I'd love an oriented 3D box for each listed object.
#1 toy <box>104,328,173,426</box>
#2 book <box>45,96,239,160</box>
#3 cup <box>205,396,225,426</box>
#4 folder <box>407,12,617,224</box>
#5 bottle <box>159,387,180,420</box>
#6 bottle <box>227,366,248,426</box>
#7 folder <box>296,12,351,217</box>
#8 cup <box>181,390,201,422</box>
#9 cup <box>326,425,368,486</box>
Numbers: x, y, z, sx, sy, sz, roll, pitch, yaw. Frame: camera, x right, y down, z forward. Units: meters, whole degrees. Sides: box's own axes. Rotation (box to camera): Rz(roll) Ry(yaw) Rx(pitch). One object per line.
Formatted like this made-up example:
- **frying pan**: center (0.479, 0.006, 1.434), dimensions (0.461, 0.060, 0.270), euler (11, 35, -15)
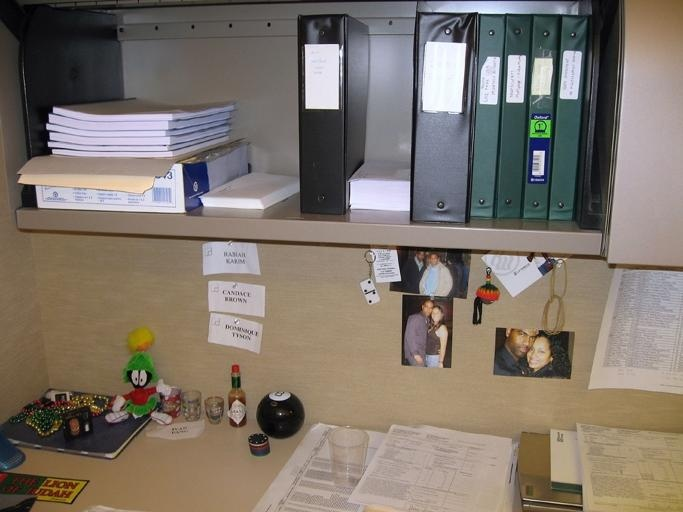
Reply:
- **toy**: center (-0.575, 0.338, 1.538), dimensions (0.170, 0.248, 0.158), euler (3, 2, -24)
- **book**: center (-0.430, -0.286, 1.210), dimensions (0.412, 0.129, 0.210), euler (-6, 12, -29)
- **cup**: center (-0.352, 0.424, 1.501), dimensions (0.061, 0.073, 0.064), euler (-2, 2, 0)
- **folder**: center (0.350, -0.268, 1.276), dimensions (0.348, 0.519, 0.486), euler (1, 5, 3)
- **bottle**: center (-0.487, 0.412, 1.541), dimensions (0.046, 0.078, 0.048), euler (0, 16, 0)
- **bottle**: center (-0.294, 0.380, 1.513), dimensions (0.056, 0.179, 0.086), euler (-3, 10, -14)
- **folder**: center (-0.033, -0.285, 1.080), dimensions (0.128, 0.399, 0.283), euler (1, 22, 4)
- **cup**: center (-0.421, 0.420, 1.516), dimensions (0.066, 0.080, 0.070), euler (0, 2, 0)
- **cup**: center (0.005, 0.501, 1.370), dimensions (0.130, 0.149, 0.137), euler (-1, -11, 0)
